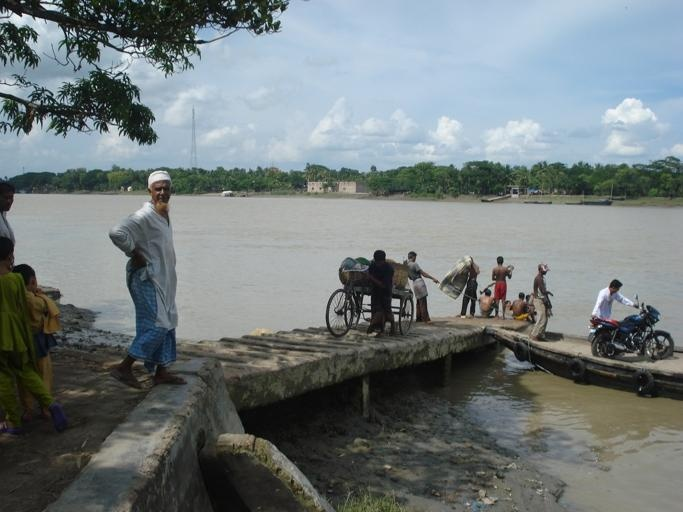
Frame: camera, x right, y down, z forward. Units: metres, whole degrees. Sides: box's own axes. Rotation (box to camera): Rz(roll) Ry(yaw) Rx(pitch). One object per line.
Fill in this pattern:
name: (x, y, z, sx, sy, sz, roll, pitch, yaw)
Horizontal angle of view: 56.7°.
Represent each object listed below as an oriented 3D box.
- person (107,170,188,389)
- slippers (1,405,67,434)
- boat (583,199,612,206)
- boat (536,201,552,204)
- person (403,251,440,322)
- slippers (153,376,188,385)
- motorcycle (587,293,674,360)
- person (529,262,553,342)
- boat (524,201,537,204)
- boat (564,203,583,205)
person: (-2.201, 0.272, 7.269, 0.916, 2.393, 0.920, 0, 11, -23)
slippers: (-3.083, 1.635, 6.379, 0.641, 0.309, 0.293, 0, 6, -11)
boat: (64.451, -13.307, 158.542, 9.578, 1.688, 2.482, 0, 3, -28)
boat: (56.686, -14.565, 176.264, 3.396, 0.953, 4.190, 3, 6, 27)
person: (1.909, 0.833, 16.353, 0.890, 2.112, 0.748, 0, 0, -28)
slippers: (-1.897, 1.376, 7.086, 0.377, 0.156, 0.131, -1, -2, -1)
motorcycle: (6.386, 1.688, 13.906, 1.637, 1.230, 0.561, 2, 6, 17)
person: (4.940, 1.172, 16.055, 0.916, 1.976, 0.730, 0, 0, 26)
boat: (53.933, -15.061, 180.077, 3.119, 0.631, 6.624, 2, 5, 11)
boat: (64.620, -14.252, 176.836, 3.166, 0.580, 4.170, 0, 5, -5)
